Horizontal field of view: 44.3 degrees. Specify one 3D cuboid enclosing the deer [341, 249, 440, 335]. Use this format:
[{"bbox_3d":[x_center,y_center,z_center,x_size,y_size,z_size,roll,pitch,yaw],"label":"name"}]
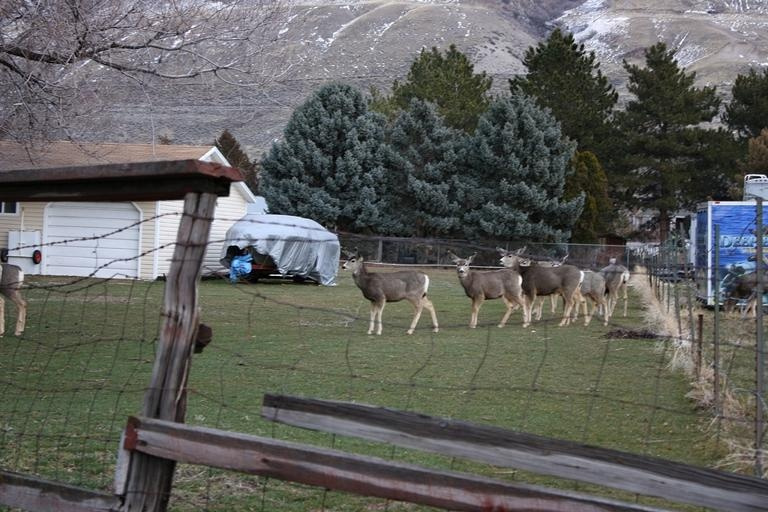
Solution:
[{"bbox_3d":[0.135,0.849,20.682,1.870,1.792,3.385,1,-3,-1],"label":"deer"}]
